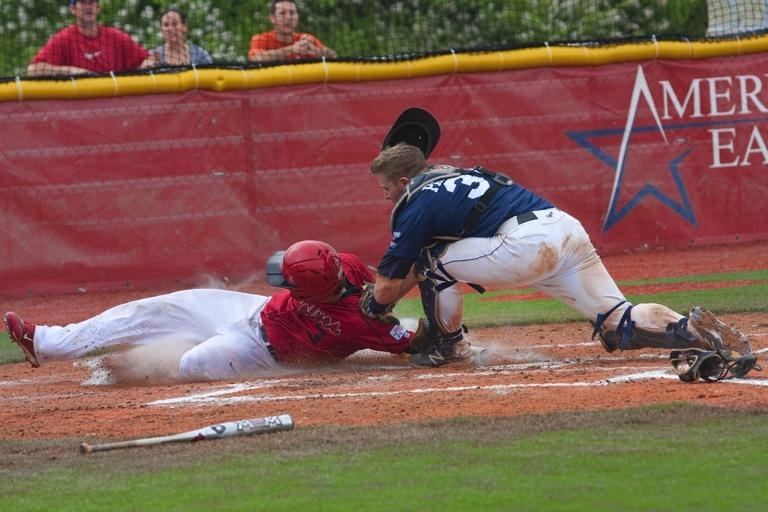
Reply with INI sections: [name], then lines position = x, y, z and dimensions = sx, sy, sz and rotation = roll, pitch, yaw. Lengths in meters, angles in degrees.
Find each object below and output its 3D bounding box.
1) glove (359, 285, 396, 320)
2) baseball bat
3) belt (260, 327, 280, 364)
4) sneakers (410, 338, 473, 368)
[glove]
position = -0.155, 0.431, 15.458
dimensions = 0.362, 0.292, 0.250
rotation = 7, 16, -30
[baseball bat]
position = -1.701, 1.552, 14.343
dimensions = 1.826, 0.178, 0.135
rotation = -4, 5, -6
[belt]
position = -1.088, 0.844, 15.585
dimensions = 0.069, 0.286, 0.215
rotation = -49, 9, 11
[sneakers]
position = 0.563, 0.911, 15.723
dimensions = 0.670, 0.245, 0.224
rotation = -5, 12, -15
